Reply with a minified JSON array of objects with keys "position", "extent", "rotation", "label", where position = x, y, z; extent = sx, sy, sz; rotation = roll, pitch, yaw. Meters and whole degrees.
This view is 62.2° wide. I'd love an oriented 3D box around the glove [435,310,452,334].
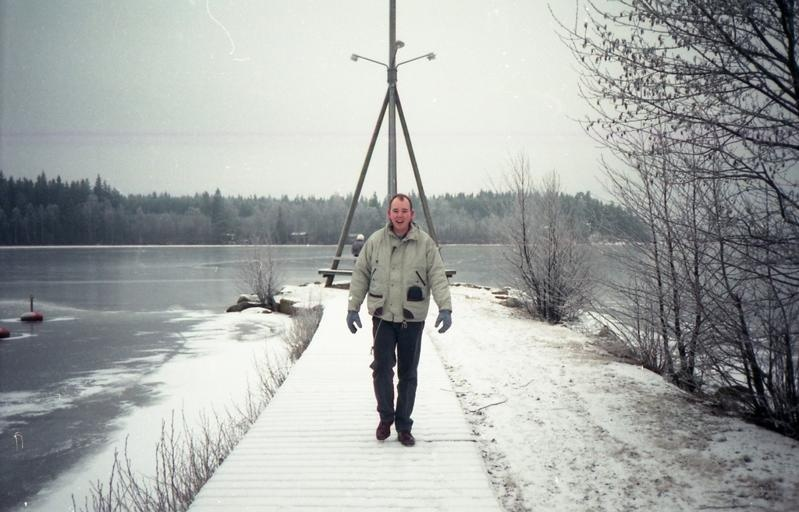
[{"position":[0.638,1.004,9.758],"extent":[0.181,0.418,0.473],"rotation":[4,14,8],"label":"glove"}]
